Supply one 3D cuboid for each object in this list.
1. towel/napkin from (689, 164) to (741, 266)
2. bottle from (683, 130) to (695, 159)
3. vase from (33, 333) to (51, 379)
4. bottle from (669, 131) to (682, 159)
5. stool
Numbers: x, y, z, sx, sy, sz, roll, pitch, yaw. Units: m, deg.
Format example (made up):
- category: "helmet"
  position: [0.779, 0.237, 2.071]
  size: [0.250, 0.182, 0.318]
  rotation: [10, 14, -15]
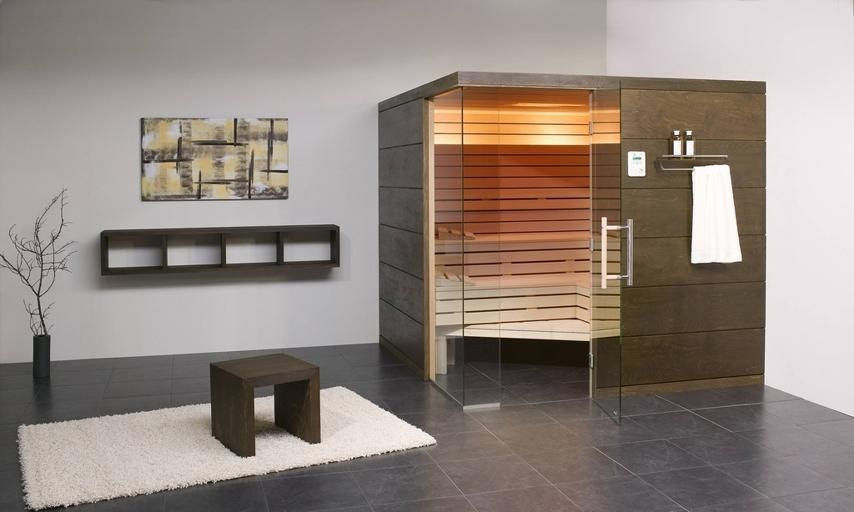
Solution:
- category: "towel/napkin"
  position: [3.175, -0.444, 7.264]
  size: [0.580, 1.078, 0.138]
  rotation: [-2, 6, -9]
- category: "bottle"
  position: [2.864, -1.219, 7.237]
  size: [0.163, 0.281, 0.069]
  rotation: [-2, 6, -17]
- category: "vase"
  position: [-4.467, 1.165, 7.763]
  size: [0.182, 0.482, 0.202]
  rotation: [-5, 7, -35]
- category: "bottle"
  position: [2.703, -1.216, 7.216]
  size: [0.111, 0.281, 0.070]
  rotation: [0, 6, 6]
- category: "stool"
  position: [-1.553, 1.344, 6.422]
  size: [0.979, 0.752, 0.950]
  rotation: [-2, 6, -33]
